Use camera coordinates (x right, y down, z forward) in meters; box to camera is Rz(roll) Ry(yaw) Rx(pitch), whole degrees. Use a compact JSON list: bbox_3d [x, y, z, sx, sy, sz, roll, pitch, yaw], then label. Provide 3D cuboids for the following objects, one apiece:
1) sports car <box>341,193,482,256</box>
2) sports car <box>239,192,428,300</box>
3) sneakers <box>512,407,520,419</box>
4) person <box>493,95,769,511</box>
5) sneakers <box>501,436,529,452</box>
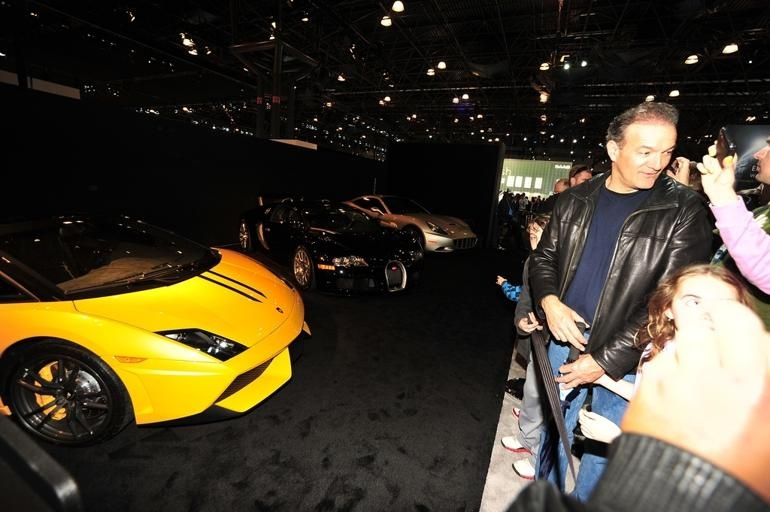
[{"bbox_3d":[0.523,-0.799,9.093,2.382,0.720,1.354,28,13,31],"label":"sports car"},{"bbox_3d":[-0.889,-0.247,6.181,2.416,0.712,1.398,20,17,40],"label":"sports car"},{"bbox_3d":[1.117,1.344,3.719,0.060,0.052,0.148,-2,6,1],"label":"sneakers"},{"bbox_3d":[1.391,0.289,2.810,0.999,2.432,0.805,-12,19,-25],"label":"person"},{"bbox_3d":[1.011,1.475,3.383,0.198,0.071,0.082,15,30,19],"label":"sneakers"}]
